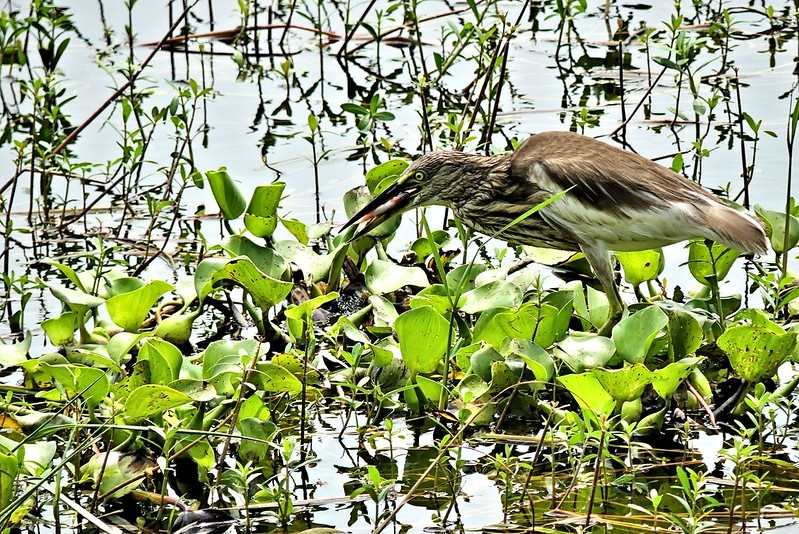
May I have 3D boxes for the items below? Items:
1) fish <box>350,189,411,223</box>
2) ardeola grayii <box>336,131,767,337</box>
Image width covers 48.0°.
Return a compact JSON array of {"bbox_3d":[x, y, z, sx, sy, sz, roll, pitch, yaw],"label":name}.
[{"bbox_3d":[-0.071,-0.284,4.283,0.327,0.113,0.051,-28,-3,27],"label":"fish"},{"bbox_3d":[0.727,-0.156,3.993,1.649,0.884,0.353,-4,-17,24],"label":"ardeola grayii"}]
